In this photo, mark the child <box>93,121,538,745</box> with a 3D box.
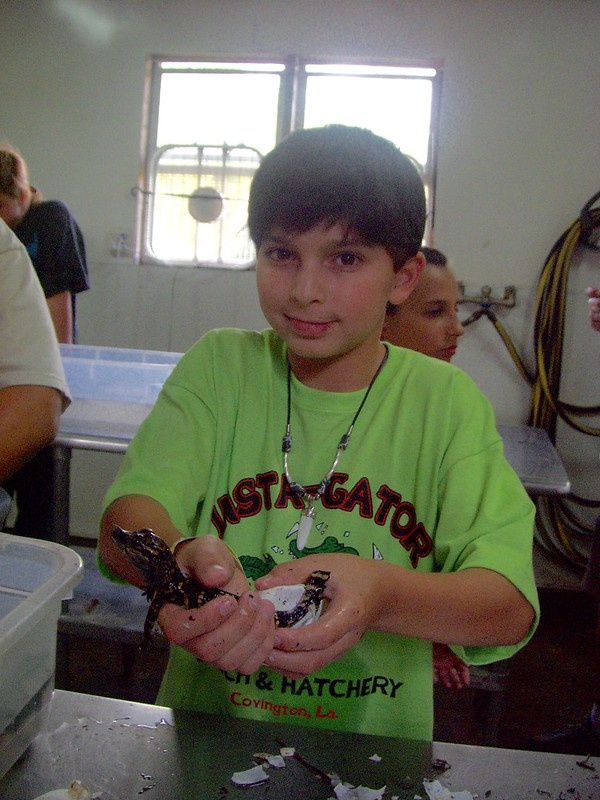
[{"bbox_3d":[0.021,-0.020,0.825,0.464,0.585,0.455,0,10,-26],"label":"child"}]

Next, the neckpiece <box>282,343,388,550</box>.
[{"bbox_3d":[0.028,0.053,0.918,0.097,0.265,0.022,4,-24,19],"label":"neckpiece"}]

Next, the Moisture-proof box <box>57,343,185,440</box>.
[{"bbox_3d":[-0.621,-0.008,2.272,0.453,0.107,0.400,4,34,9],"label":"Moisture-proof box"}]
